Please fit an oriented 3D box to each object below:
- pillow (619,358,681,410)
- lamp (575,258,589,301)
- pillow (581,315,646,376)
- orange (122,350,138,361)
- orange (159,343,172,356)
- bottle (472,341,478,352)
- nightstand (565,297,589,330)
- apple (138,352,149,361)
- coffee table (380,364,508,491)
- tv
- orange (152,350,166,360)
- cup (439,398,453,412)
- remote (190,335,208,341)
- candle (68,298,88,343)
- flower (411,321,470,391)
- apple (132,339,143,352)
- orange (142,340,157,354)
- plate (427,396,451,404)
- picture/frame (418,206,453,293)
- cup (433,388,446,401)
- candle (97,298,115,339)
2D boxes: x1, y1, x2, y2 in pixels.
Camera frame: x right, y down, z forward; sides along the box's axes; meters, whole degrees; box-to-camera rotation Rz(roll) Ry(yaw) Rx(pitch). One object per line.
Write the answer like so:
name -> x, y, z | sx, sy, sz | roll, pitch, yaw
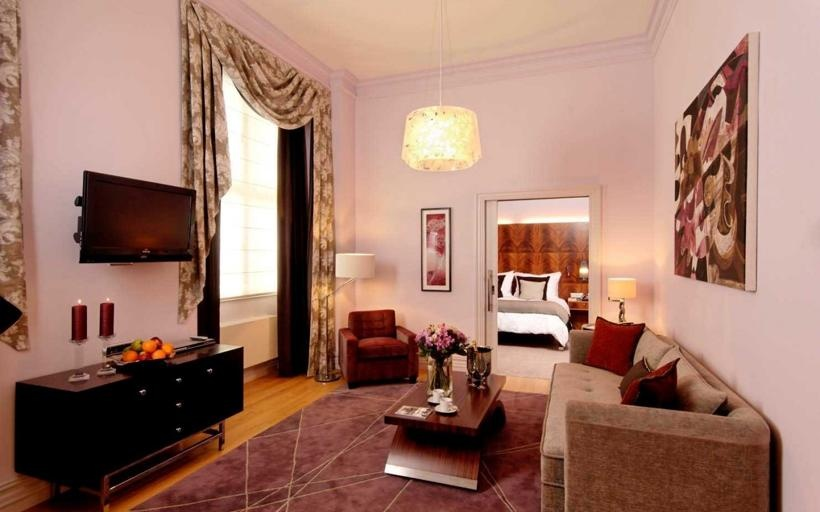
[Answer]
pillow -> 1.872, 1.011, 4.151 | 0.314, 0.157, 0.519 | -22, -21, 0
lamp -> 2.974, 0.393, 9.350 | 0.143, 0.595, 0.445 | 2, 13, 12
pillow -> 2.074, 0.905, 5.539 | 0.156, 0.513, 0.516 | 21, -7, -32
orange -> -2.369, 0.846, 4.593 | 0.096, 0.088, 0.090 | 3, 5, 5
orange -> -2.117, 0.811, 4.735 | 0.084, 0.086, 0.086 | 10, -7, 18
bottle -> 0.634, 0.869, 5.354 | 0.052, 0.079, 0.178 | 2, 13, 11
nightstand -> 2.678, 0.936, 8.710 | 0.606, 0.590, 0.330 | -1, -5, 17
apple -> -2.257, 0.844, 4.622 | 0.061, 0.035, 0.063 | 19, 15, 42
coffee table -> 0.499, 1.590, 5.437 | 0.928, 0.571, 1.668 | 2, 7, 22
tv -> -2.449, -0.332, 4.762 | 0.124, 0.667, 0.857 | 2, 0, 36
orange -> -2.139, 0.843, 4.637 | 0.081, 0.081, 0.082 | 15, 5, 28
cup -> 0.323, 1.323, 4.832 | 0.077, 0.081, 0.118 | 1, -1, -43
remote -> -2.077, 0.812, 5.378 | 0.088, 0.031, 0.121 | 3, -4, -1
candle -> -2.704, 0.557, 4.429 | 0.127, 0.301, 0.081 | -7, 14, -26
flower -> 0.311, 0.979, 5.285 | 0.492, 0.584, 0.475 | -4, 9, -39
apple -> -2.359, 0.773, 4.737 | 0.075, 0.086, 0.101 | 7, -7, -10
orange -> -2.232, 0.780, 4.672 | 0.102, 0.106, 0.103 | 3, 6, -7
plate -> 0.254, 1.325, 4.984 | 0.100, 0.062, 0.156 | 1, -1, -43
picture/frame -> 0.357, -0.084, 7.291 | 0.411, 1.077, 0.301 | 1, 13, 5
cup -> 0.259, 1.281, 5.000 | 0.127, 0.091, 0.079 | 0, -3, 21
candle -> -2.559, 0.544, 4.568 | 0.129, 0.297, 0.108 | -9, 15, -34
